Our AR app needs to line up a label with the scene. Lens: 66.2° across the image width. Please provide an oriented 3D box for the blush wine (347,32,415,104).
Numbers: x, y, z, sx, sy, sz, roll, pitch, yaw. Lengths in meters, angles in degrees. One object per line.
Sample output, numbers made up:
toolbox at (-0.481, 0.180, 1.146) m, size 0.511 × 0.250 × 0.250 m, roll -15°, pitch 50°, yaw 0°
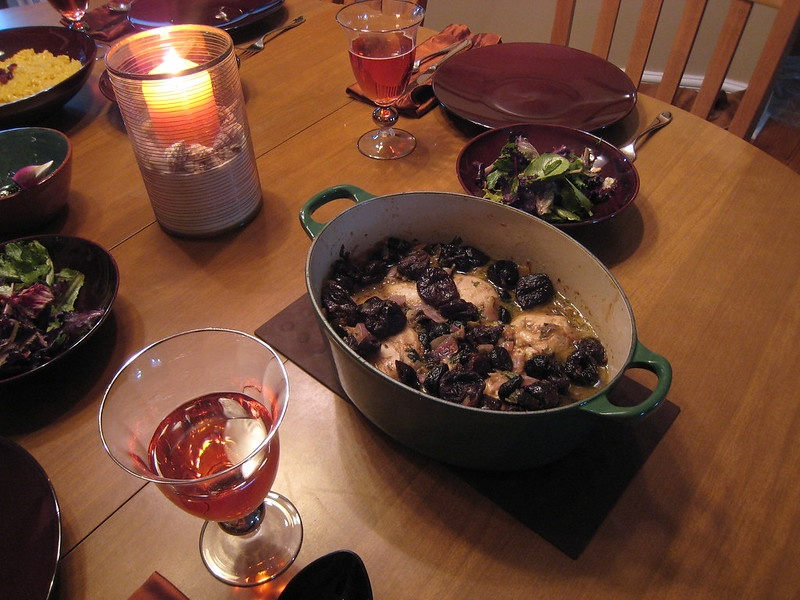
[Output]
blush wine at (-0.043, -0.552, 1.437) m, size 0.167 × 0.181 × 0.167 m, roll 4°, pitch 36°, yaw 8°
